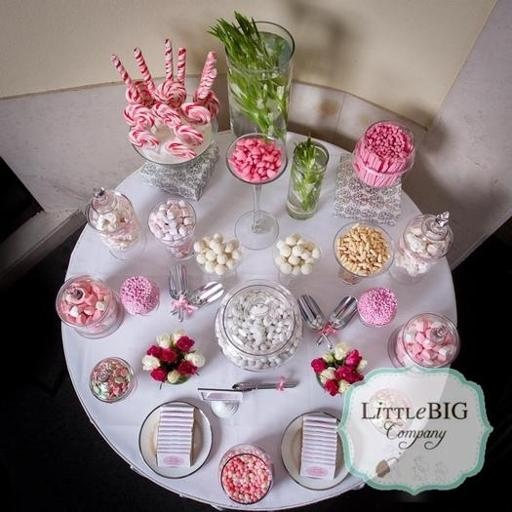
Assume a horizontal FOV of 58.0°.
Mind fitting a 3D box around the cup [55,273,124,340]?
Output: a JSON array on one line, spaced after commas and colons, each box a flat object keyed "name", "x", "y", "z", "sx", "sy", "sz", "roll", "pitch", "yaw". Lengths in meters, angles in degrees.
[{"name": "cup", "x": -0.626, "y": 0.183, "z": 1.737, "sx": 0.206, "sy": 0.204, "sz": 0.210, "roll": 1, "pitch": 64, "yaw": -1}]

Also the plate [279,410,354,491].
[{"name": "plate", "x": 0.193, "y": 0.669, "z": 1.584, "sx": 0.215, "sy": 0.073, "sz": 0.251, "roll": -7, "pitch": 64, "yaw": -6}]

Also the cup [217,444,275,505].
[{"name": "cup", "x": -0.029, "y": 0.731, "z": 1.549, "sx": 0.177, "sy": 0.169, "sz": 0.169, "roll": 0, "pitch": 92, "yaw": 5}]

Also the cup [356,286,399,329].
[{"name": "cup", "x": 0.438, "y": 0.184, "z": 1.736, "sx": 0.144, "sy": 0.136, "sz": 0.142, "roll": -1, "pitch": 82, "yaw": 9}]

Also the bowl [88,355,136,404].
[{"name": "bowl", "x": -0.515, "y": 0.442, "z": 1.649, "sx": 0.154, "sy": 0.129, "sz": 0.148, "roll": 1, "pitch": 83, "yaw": -10}]

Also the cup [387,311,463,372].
[{"name": "cup", "x": 0.578, "y": 0.294, "z": 1.638, "sx": 0.216, "sy": 0.226, "sz": 0.195, "roll": 9, "pitch": 93, "yaw": 12}]

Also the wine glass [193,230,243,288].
[{"name": "wine glass", "x": -0.148, "y": 0.014, "z": 1.785, "sx": 0.176, "sy": 0.211, "sz": 0.154, "roll": 3, "pitch": 64, "yaw": 0}]

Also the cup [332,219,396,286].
[{"name": "cup", "x": 0.393, "y": -0.016, "z": 1.834, "sx": 0.230, "sy": 0.217, "sz": 0.220, "roll": 0, "pitch": 75, "yaw": 0}]

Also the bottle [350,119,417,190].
[{"name": "bottle", "x": 0.488, "y": -0.396, "z": 1.860, "sx": 0.244, "sy": 0.246, "sz": 0.253, "roll": 3, "pitch": 82, "yaw": 5}]

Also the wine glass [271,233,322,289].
[{"name": "wine glass", "x": 0.156, "y": 0.031, "z": 1.783, "sx": 0.135, "sy": 0.149, "sz": 0.125, "roll": -35, "pitch": 70, "yaw": -15}]

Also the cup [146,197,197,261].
[{"name": "cup", "x": -0.337, "y": -0.094, "z": 1.829, "sx": 0.154, "sy": 0.182, "sz": 0.161, "roll": -2, "pitch": 68, "yaw": 5}]
